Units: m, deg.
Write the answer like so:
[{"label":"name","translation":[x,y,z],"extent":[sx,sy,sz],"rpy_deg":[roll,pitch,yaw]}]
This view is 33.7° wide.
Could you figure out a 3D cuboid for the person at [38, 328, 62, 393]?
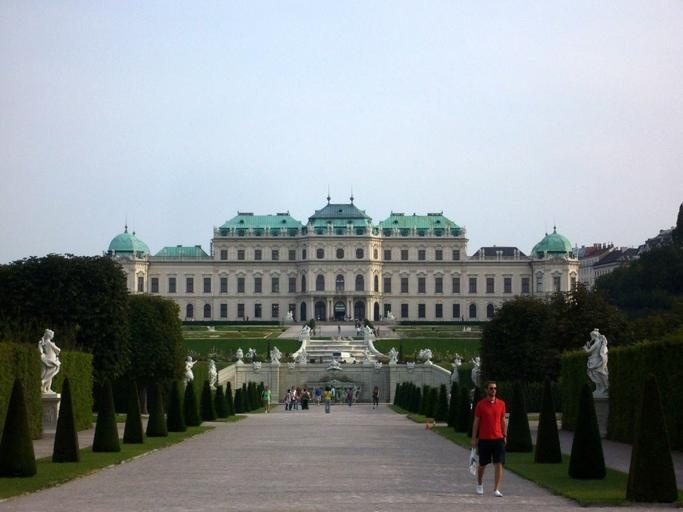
[{"label":"person","translation":[-8.293,3.041,31.733],"extent":[0.575,1.751,0.902],"rpy_deg":[2,-10,-13]}]

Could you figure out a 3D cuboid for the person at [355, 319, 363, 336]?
[{"label":"person","translation":[1.332,6.022,90.378],"extent":[0.657,1.297,0.403],"rpy_deg":[8,19,34]}]

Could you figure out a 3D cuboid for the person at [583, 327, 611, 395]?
[{"label":"person","translation":[7.512,3.172,33.041],"extent":[0.616,2.020,1.409],"rpy_deg":[-2,-10,12]}]
